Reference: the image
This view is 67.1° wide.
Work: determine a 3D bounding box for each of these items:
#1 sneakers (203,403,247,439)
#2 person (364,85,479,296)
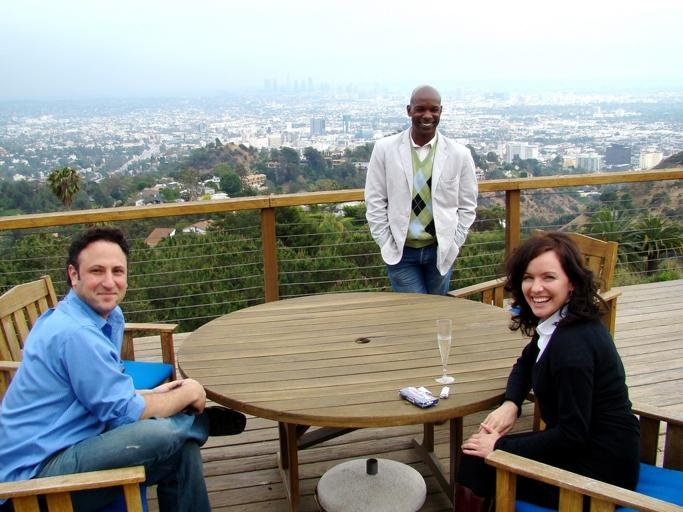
[{"bbox_3d":[-0.475,0.664,2.111,0.232,0.148,0.075,-2,10,-16],"label":"sneakers"},{"bbox_3d":[0.508,-0.387,3.265,0.719,1.303,0.415,-2,18,7],"label":"person"}]
